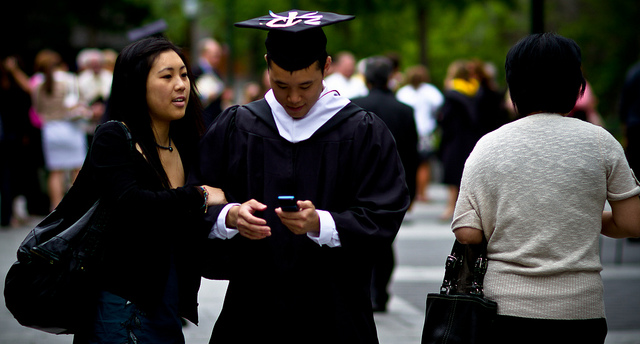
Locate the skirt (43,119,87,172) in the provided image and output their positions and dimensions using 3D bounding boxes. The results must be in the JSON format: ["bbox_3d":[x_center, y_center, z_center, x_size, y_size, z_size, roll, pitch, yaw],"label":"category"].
[{"bbox_3d":[-4.802,-0.525,19.699,1.183,1.157,0.136,-3,5,-18],"label":"skirt"}]

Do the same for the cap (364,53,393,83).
[{"bbox_3d":[0.891,-1.601,16.634,0.439,0.351,0.509,2,-9,-4],"label":"cap"}]

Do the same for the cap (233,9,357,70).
[{"bbox_3d":[-0.325,-1.670,12.995,0.982,0.368,1.029,22,32,40],"label":"cap"}]
